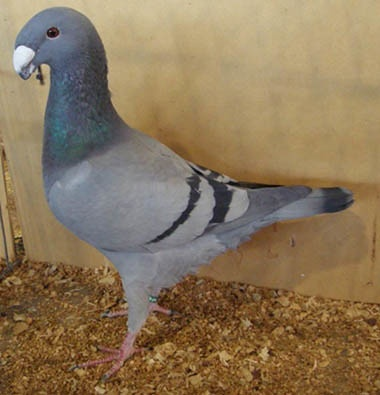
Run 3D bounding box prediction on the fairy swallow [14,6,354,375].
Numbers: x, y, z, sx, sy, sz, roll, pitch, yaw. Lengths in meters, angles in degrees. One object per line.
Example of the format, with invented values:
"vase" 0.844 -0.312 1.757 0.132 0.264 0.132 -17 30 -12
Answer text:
"fairy swallow" -0.102 -0.118 2.371 0.970 1.335 0.342 -13 23 -5
